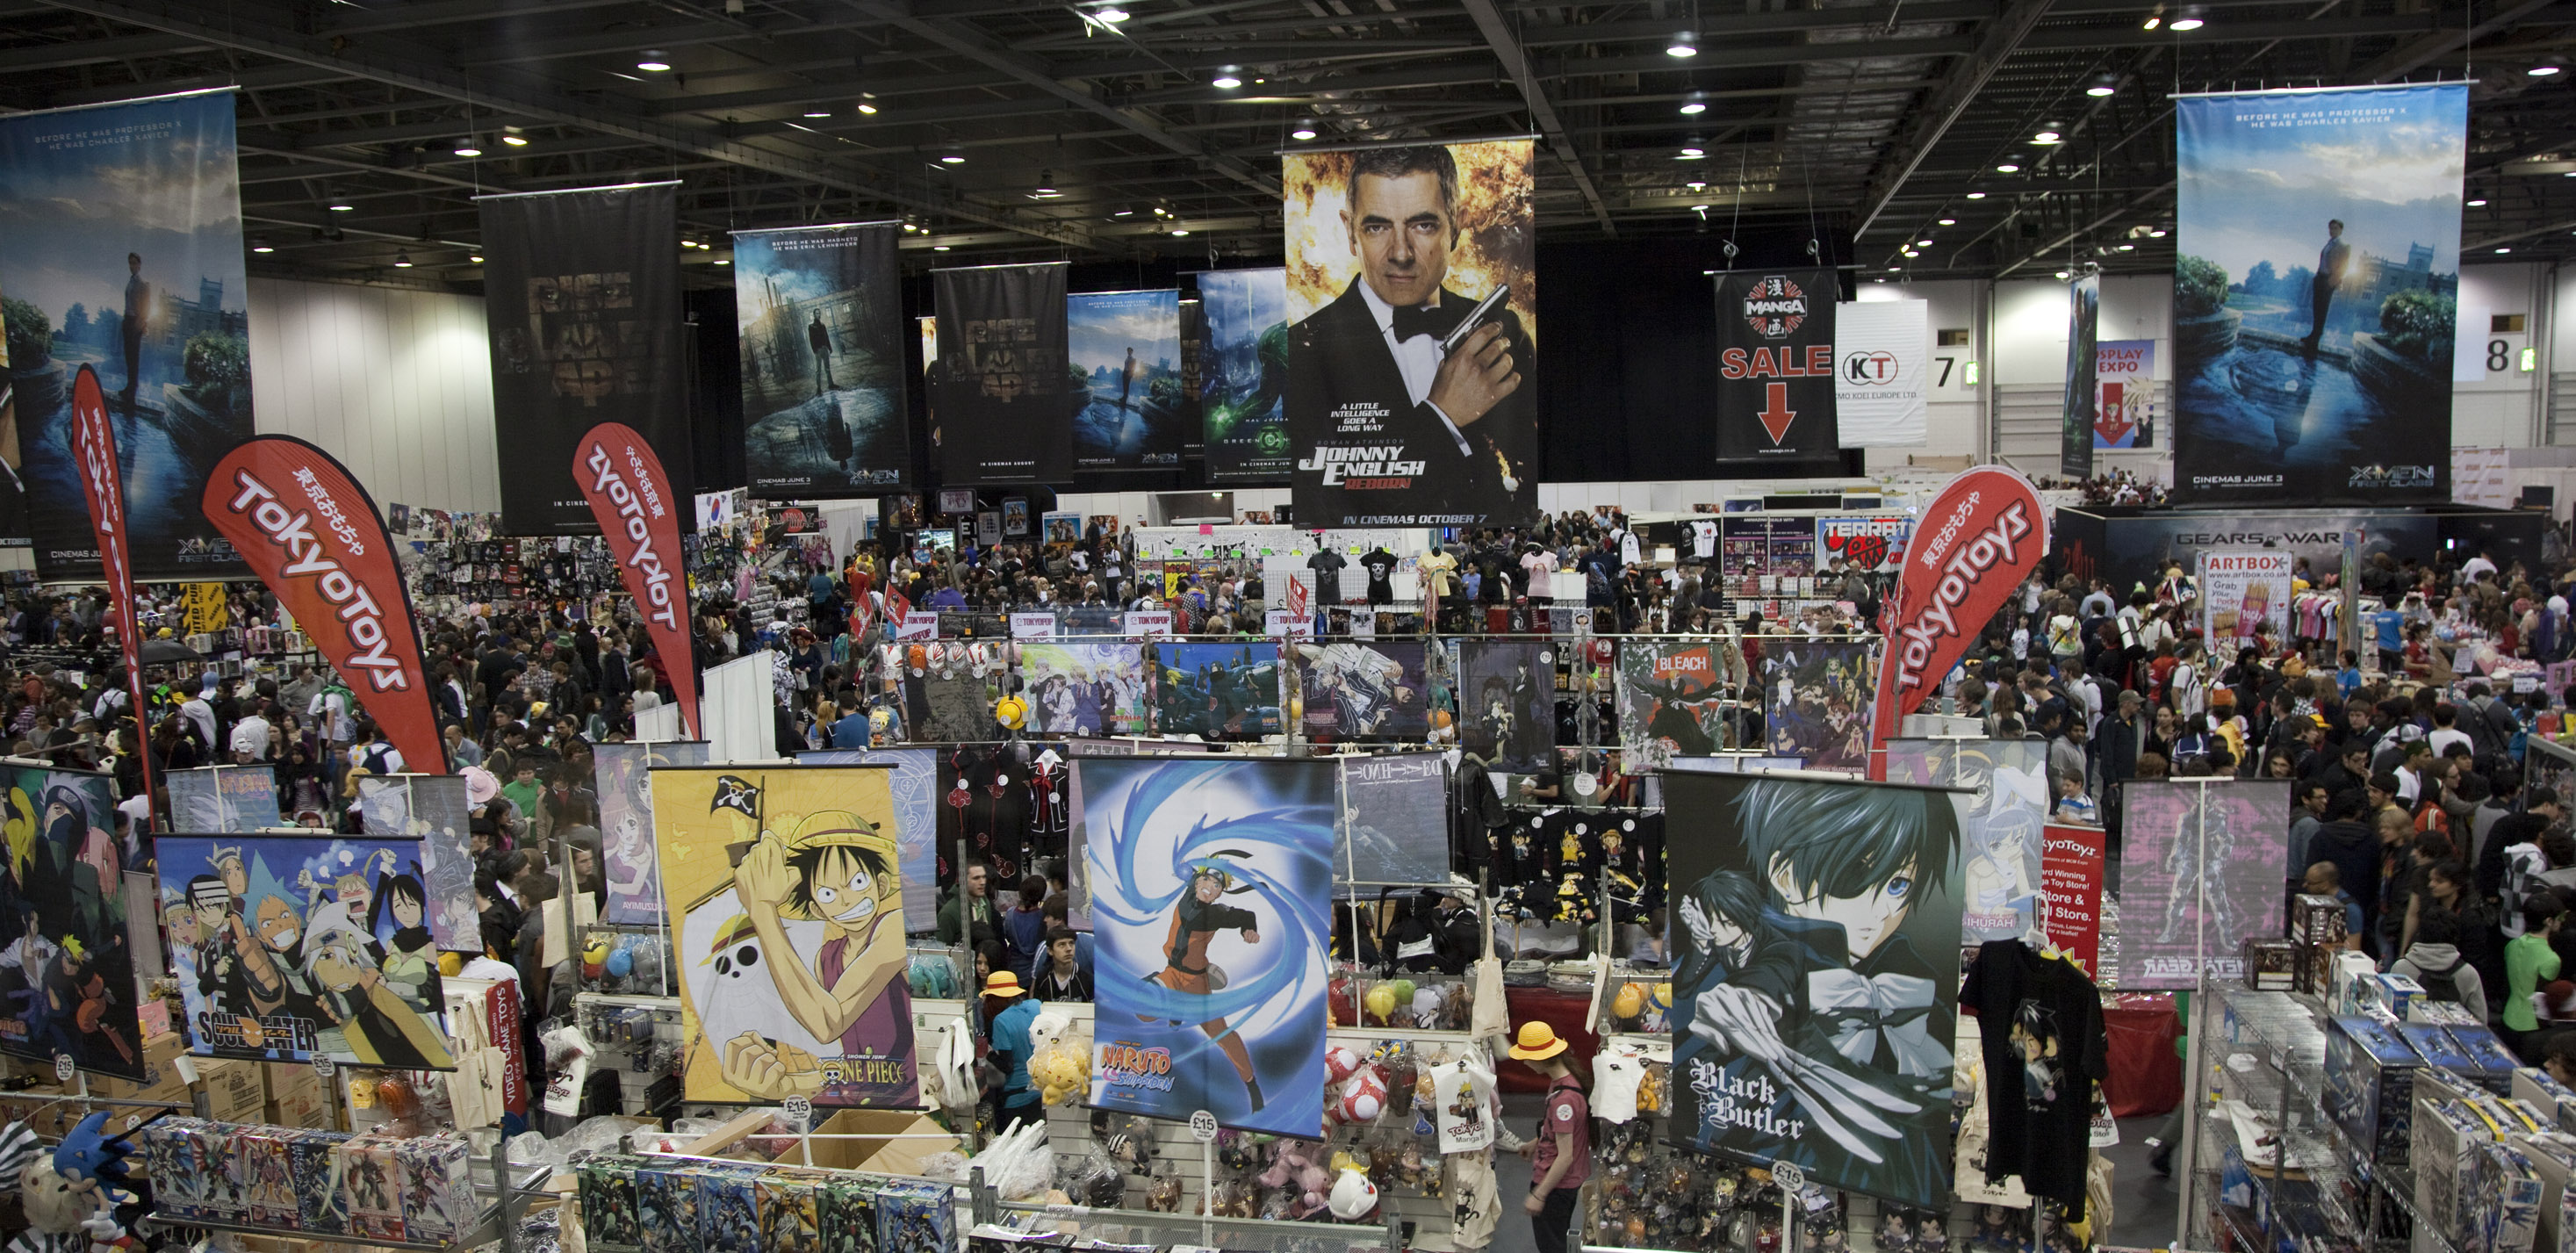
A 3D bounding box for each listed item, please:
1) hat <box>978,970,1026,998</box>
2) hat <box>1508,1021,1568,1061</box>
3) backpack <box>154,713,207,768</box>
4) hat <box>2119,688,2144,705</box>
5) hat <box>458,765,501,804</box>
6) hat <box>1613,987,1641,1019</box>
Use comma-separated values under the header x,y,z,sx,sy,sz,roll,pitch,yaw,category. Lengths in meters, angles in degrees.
x,y,z,sx,sy,sz,roll,pitch,yaw,category
-2.716,3.394,17.782,0.393,0.267,0.346,-1,3,2,hat
2.212,3.739,16.906,0.510,0.225,0.493,-7,-2,-5,hat
-13.326,1.411,22.549,0.338,0.496,0.523,4,-41,-17,backpack
10.085,0.856,22.396,0.237,0.205,0.181,7,-4,-11,hat
-8.457,1.687,19.605,0.110,0.394,0.402,-17,16,38,hat
2.985,3.324,16.443,0.241,0.226,0.231,-18,12,-22,hat
